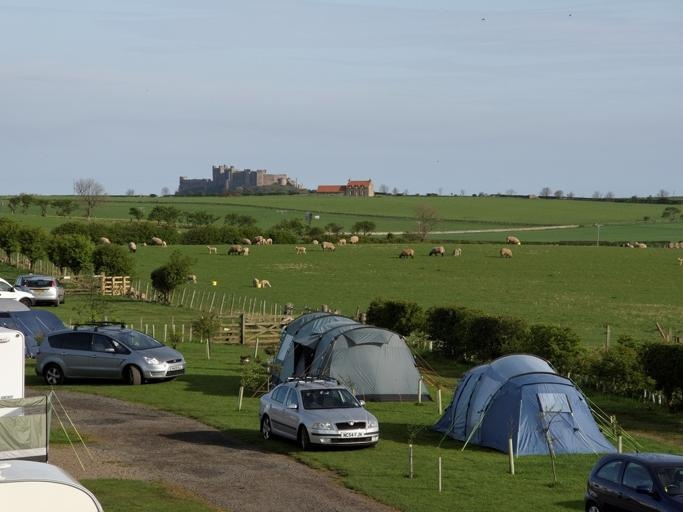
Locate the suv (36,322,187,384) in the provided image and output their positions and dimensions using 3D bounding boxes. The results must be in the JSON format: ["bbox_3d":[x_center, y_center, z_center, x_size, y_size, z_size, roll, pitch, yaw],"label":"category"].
[{"bbox_3d":[-11.742,4.927,58.348,6.908,2.894,3.393,-1,-3,13],"label":"suv"}]

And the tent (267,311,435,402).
[{"bbox_3d":[0.288,5.168,61.257,8.464,3.785,6.710,-6,5,-33],"label":"tent"}]
